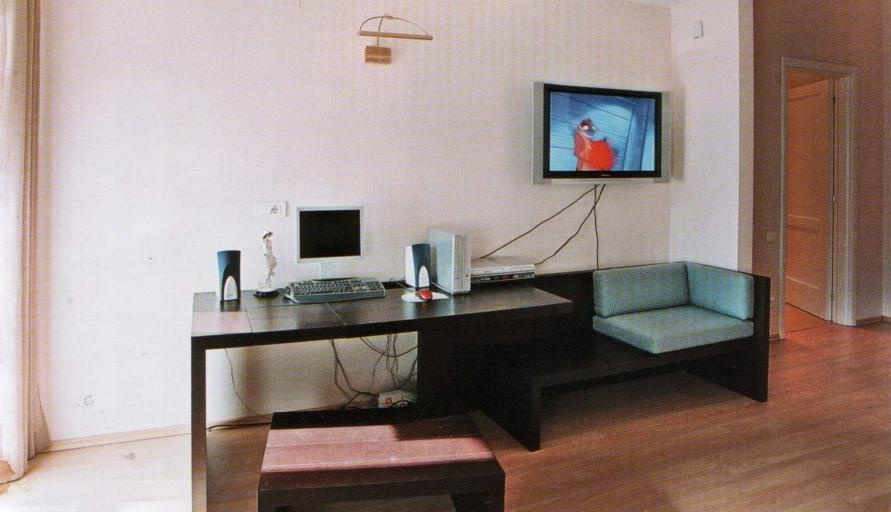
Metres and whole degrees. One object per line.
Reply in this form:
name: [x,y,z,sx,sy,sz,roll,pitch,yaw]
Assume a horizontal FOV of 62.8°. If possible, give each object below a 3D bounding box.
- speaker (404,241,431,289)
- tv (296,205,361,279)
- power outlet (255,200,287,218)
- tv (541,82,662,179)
speaker: [-0.232,0.072,5.975,0.210,0.352,0.244,-10,13,-12]
tv: [-0.959,-0.135,5.853,0.732,0.678,0.243,-1,1,-19]
power outlet: [-1.406,-0.378,5.896,0.254,0.140,0.035,-8,13,-7]
tv: [1.338,-1.116,6.483,1.109,0.612,0.042,0,5,-13]
